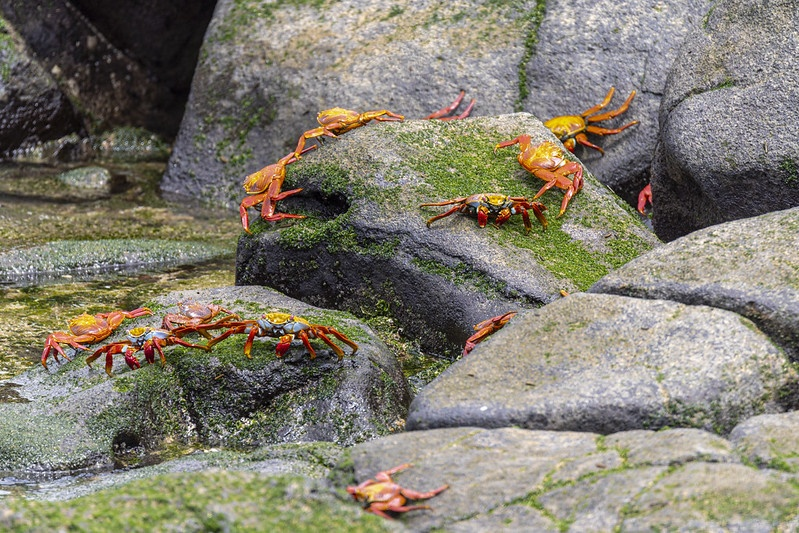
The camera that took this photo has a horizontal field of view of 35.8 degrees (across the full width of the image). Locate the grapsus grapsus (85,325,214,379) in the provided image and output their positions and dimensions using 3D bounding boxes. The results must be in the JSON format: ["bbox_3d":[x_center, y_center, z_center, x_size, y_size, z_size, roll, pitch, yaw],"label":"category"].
[{"bbox_3d":[-2.308,0.713,11.094,0.909,0.260,0.482,-6,18,26],"label":"grapsus grapsus"}]

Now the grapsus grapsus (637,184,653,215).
[{"bbox_3d":[2.962,-0.803,14.700,0.132,0.382,0.308,9,14,33],"label":"grapsus grapsus"}]

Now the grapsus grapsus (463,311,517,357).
[{"bbox_3d":[0.816,0.575,11.337,0.497,0.146,0.350,-25,20,10],"label":"grapsus grapsus"}]

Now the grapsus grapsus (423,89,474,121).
[{"bbox_3d":[0.634,-1.866,14.546,0.376,0.340,0.862,18,18,8],"label":"grapsus grapsus"}]
